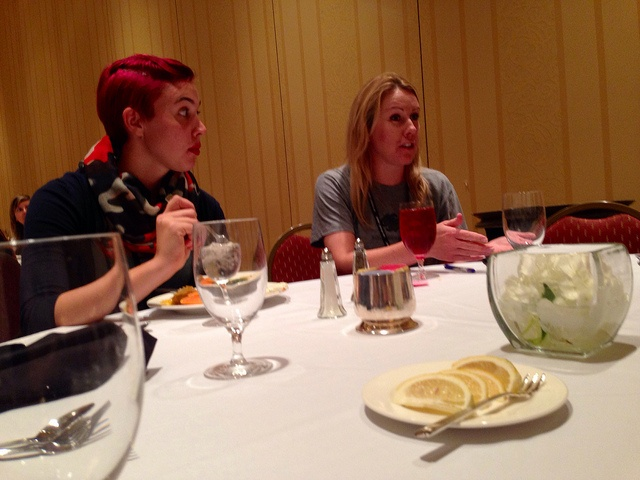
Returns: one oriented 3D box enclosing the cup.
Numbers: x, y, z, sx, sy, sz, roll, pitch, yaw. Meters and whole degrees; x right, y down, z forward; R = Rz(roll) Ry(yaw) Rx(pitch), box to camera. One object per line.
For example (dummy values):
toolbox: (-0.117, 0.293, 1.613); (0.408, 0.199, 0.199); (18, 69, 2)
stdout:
cup: (0.329, 0.076, 0.673); (0.153, 0.139, 0.151); (-1, -7, 0)

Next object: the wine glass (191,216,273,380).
wine glass: (-0.132, 0.085, 0.739); (0.098, 0.255, 0.099); (-4, 6, -35)

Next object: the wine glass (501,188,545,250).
wine glass: (0.503, -0.046, 1.155); (0.089, 0.143, 0.145); (-1, 6, 26)

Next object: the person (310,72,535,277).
person: (0.426, -0.234, 2.217); (0.852, 1.183, 0.735); (0, -1, 31)

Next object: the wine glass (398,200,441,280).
wine glass: (0.282, 0.002, 1.335); (0.086, 0.237, 0.095); (-6, 14, 9)

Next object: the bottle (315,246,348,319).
bottle: (0.037, 0.108, 1.234); (0.098, 0.249, 0.125); (-1, -8, -5)
